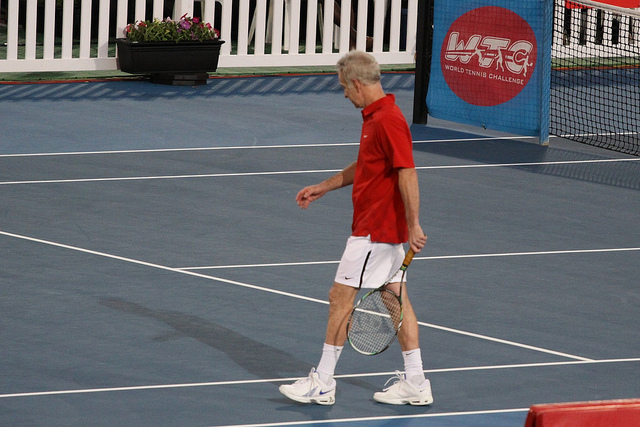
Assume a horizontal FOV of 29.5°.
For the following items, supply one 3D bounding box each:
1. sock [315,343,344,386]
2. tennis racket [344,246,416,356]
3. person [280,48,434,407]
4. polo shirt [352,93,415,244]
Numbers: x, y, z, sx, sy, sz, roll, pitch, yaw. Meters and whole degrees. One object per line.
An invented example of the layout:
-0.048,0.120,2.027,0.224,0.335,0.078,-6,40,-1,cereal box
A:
0.099,1.419,11.593,0.225,0.393,0.188,5,10,-1,sock
0.565,0.801,11.510,0.613,1.047,0.413,3,11,-9,tennis racket
0.538,0.138,11.709,1.396,3.337,1.137,5,11,0,person
0.647,-0.419,11.585,0.602,1.398,0.395,6,11,6,polo shirt
